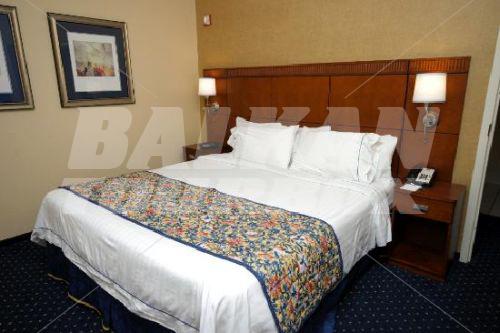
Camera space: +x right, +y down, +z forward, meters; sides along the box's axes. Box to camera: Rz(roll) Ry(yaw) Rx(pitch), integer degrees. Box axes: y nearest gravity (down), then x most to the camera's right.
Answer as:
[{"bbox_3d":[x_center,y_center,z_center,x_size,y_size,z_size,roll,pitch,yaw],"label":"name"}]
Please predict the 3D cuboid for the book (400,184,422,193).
[{"bbox_3d":[1.868,0.248,3.874,0.239,0.024,0.179,-17,23,-39],"label":"book"}]

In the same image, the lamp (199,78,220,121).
[{"bbox_3d":[-0.688,-1.154,5.645,0.322,0.648,0.320,5,20,20],"label":"lamp"}]

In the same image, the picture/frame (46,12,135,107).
[{"bbox_3d":[-2.325,-1.545,4.771,0.096,1.422,1.195,16,25,42],"label":"picture/frame"}]
